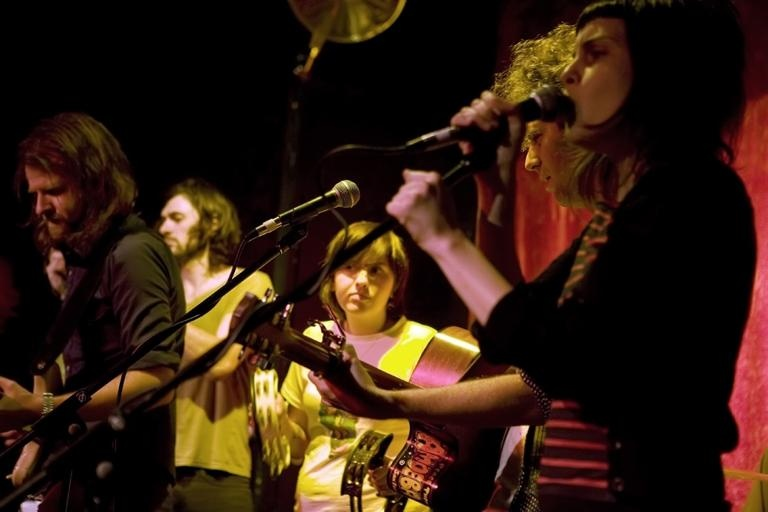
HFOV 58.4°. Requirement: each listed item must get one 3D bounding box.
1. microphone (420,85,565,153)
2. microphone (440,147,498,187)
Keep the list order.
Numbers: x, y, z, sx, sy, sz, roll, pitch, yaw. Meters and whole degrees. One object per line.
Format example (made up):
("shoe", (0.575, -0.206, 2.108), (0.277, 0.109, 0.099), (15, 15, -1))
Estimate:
("microphone", (0.302, -0.412, 2.192), (0.598, 0.149, 0.164), (-13, 4, -1))
("microphone", (0.263, -0.280, 2.137), (0.104, 0.147, 0.040), (44, -3, 20))
